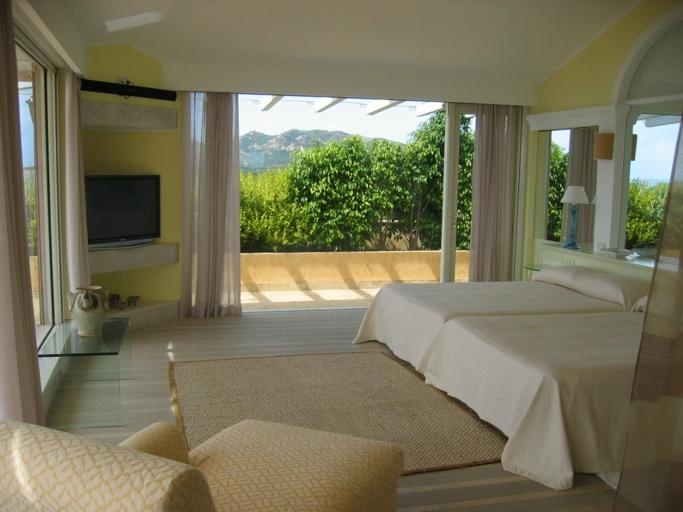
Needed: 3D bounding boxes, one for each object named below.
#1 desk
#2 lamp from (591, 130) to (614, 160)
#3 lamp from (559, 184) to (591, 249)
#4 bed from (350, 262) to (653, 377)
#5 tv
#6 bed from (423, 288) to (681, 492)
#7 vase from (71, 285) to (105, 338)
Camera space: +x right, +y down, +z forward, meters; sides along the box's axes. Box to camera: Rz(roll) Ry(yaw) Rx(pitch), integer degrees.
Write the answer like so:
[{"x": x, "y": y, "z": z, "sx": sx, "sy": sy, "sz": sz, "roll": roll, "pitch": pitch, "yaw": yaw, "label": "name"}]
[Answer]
[{"x": -1.858, "y": 0.835, "z": 3.615, "sx": 0.505, "sy": 0.554, "sz": 1.053, "roll": -1, "pitch": 14, "yaw": -14, "label": "desk"}, {"x": 2.860, "y": -1.219, "z": 5.440, "sx": 0.171, "sy": 0.314, "sz": 0.176, "roll": -3, "pitch": 12, "yaw": -15, "label": "lamp"}, {"x": 2.790, "y": -0.478, "z": 5.965, "sx": 0.303, "sy": 0.760, "sz": 0.521, "roll": 6, "pitch": 12, "yaw": 25, "label": "lamp"}, {"x": 1.531, "y": 0.412, "z": 4.691, "sx": 1.807, "sy": 0.640, "sz": 1.298, "roll": -2, "pitch": 7, "yaw": -15, "label": "bed"}, {"x": -2.497, "y": -0.525, "z": 5.634, "sx": 0.062, "sy": 0.755, "sz": 0.812, "roll": 6, "pitch": 9, "yaw": 43, "label": "tv"}, {"x": 1.195, "y": 0.839, "z": 3.346, "sx": 1.073, "sy": 0.316, "sz": 1.087, "roll": -4, "pitch": 5, "yaw": -32, "label": "bed"}, {"x": -1.875, "y": 0.400, "z": 3.720, "sx": 0.221, "sy": 0.365, "sz": 0.225, "roll": -1, "pitch": 10, "yaw": -27, "label": "vase"}]
